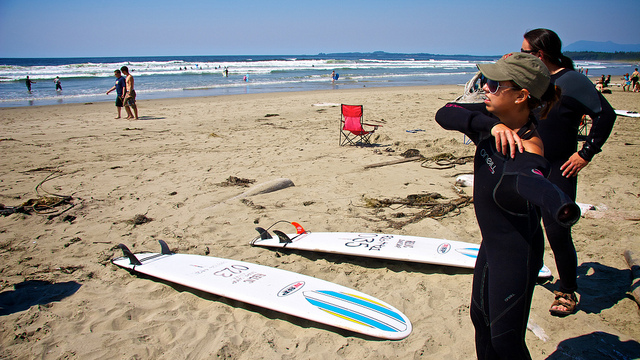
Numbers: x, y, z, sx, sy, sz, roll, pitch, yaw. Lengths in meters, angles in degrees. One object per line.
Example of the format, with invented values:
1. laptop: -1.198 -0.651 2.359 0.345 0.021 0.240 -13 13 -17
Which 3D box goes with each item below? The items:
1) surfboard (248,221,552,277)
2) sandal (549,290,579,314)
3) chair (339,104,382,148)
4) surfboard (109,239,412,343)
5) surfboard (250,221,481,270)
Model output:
1. surfboard: 0.959 1.114 6.611 4.081 0.362 0.841 4 23 25
2. sandal: 3.256 1.660 5.239 0.191 0.162 0.502 -8 -12 38
3. chair: 1.226 -1.568 11.557 1.313 1.078 1.102 9 8 24
4. surfboard: -0.814 1.591 5.876 4.298 0.997 0.705 2 19 19
5. surfboard: 0.814 1.124 6.497 3.444 0.357 0.724 5 26 15
